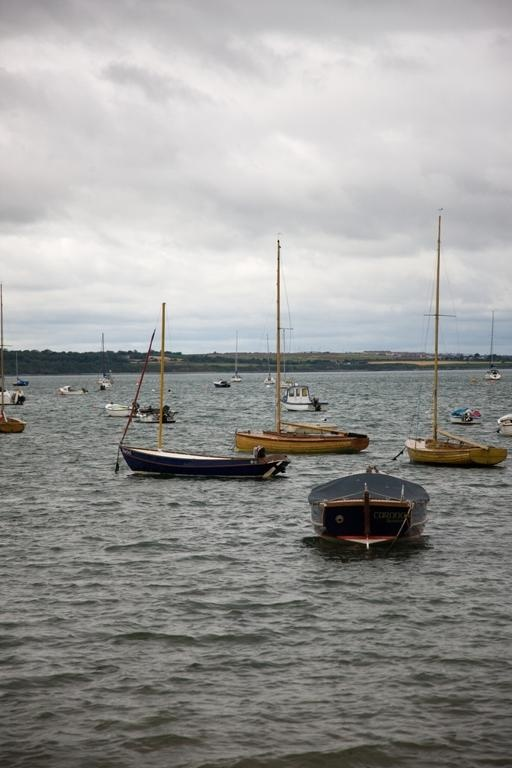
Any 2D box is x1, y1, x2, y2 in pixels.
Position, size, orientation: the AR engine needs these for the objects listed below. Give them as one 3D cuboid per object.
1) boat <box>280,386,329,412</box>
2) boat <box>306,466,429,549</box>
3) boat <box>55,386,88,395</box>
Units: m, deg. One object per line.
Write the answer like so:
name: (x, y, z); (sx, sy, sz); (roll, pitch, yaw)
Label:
boat: (4.675, 1.447, 103.900); (2.369, 2.681, 8.040); (0, 6, -15)
boat: (3.773, 4.241, 30.537); (3.769, 2.085, 2.310); (0, 5, -1)
boat: (-38.333, 1.270, 187.381); (4.589, 1.836, 2.242); (5, 2, 26)
